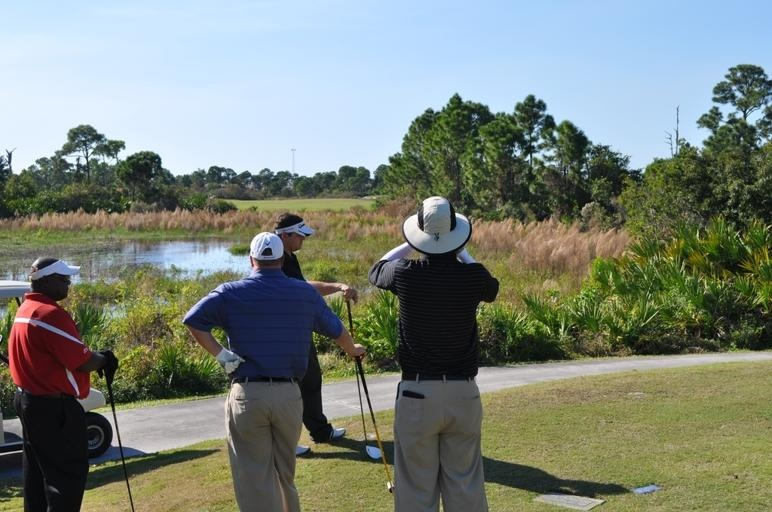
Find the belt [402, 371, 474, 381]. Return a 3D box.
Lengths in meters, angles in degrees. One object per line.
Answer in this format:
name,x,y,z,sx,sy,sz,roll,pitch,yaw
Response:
belt,0.644,1.496,11.678,0.892,0.097,0.177,-2,-2,6

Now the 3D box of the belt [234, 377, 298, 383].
belt,-1.539,1.562,11.921,0.769,0.063,0.100,-2,-2,-8
